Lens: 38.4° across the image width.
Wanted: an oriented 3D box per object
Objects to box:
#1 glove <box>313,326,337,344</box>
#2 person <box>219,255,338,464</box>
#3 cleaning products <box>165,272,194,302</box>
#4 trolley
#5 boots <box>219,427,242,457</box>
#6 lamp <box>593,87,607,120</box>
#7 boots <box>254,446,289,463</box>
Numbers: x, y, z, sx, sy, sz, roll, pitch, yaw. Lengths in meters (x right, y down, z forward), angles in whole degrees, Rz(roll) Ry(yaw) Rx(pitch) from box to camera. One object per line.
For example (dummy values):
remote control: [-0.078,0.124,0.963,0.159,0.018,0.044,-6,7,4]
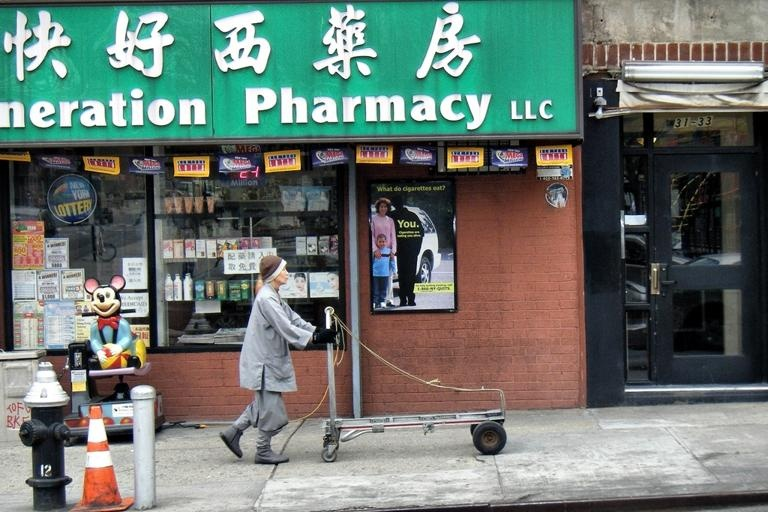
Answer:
glove: [-0.750,1.020,14.341,0.302,0.100,0.213,1,-30,-13]
person: [-1.374,1.347,14.799,1.306,2.896,1.176,0,0,15]
cleaning products: [-3.035,0.462,16.329,0.458,0.396,0.150,1,2,-2]
trolley: [0.445,1.715,14.858,2.454,1.746,1.277,-3,0,6]
boots: [-2.007,2.467,14.564,0.303,0.418,0.154,-35,15,-3]
lamp: [3.152,-2.258,16.040,0.193,0.467,0.121,-3,0,6]
boots: [-1.491,2.613,14.503,0.499,0.302,0.186,-1,-2,-3]
